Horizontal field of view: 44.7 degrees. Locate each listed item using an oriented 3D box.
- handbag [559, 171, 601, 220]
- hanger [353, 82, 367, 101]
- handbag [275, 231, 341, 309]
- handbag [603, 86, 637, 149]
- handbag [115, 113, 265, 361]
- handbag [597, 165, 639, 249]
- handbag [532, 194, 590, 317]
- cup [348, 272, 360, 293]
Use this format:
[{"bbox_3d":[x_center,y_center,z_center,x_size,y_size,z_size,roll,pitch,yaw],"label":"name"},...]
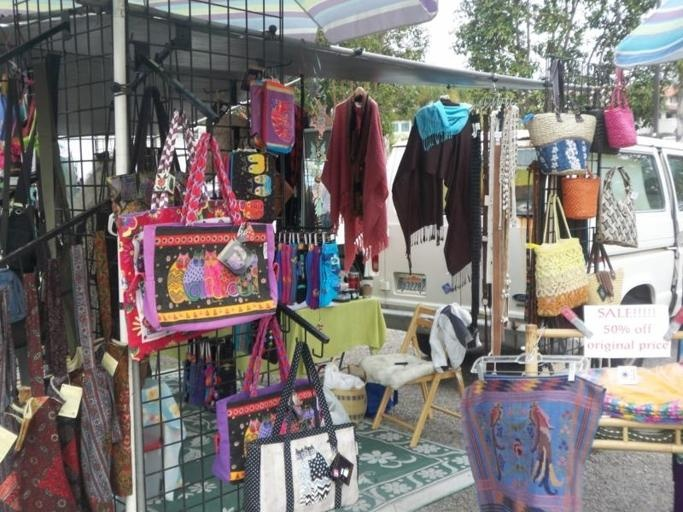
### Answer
[{"bbox_3d":[1.728,-0.436,6.023,0.242,0.375,0.302,0,-3,-2],"label":"handbag"},{"bbox_3d":[0.149,-1.339,6.769,0.105,0.126,0.166,-1,4,-6],"label":"hanger"},{"bbox_3d":[-0.270,0.088,6.184,0.396,0.562,0.214,4,16,3],"label":"handbag"},{"bbox_3d":[2.336,-1.163,6.942,0.230,0.551,1.488,0,7,19],"label":"handbag"},{"bbox_3d":[-0.769,-0.142,4.449,0.854,1.251,0.299,-5,6,-21],"label":"handbag"},{"bbox_3d":[2.121,-0.376,6.425,0.200,0.627,0.471,3,8,44],"label":"handbag"},{"bbox_3d":[1.562,0.001,5.964,0.159,0.869,0.727,-5,1,33],"label":"handbag"},{"bbox_3d":[0.106,0.210,7.232,0.107,0.235,0.117,-1,0,0],"label":"cup"}]
